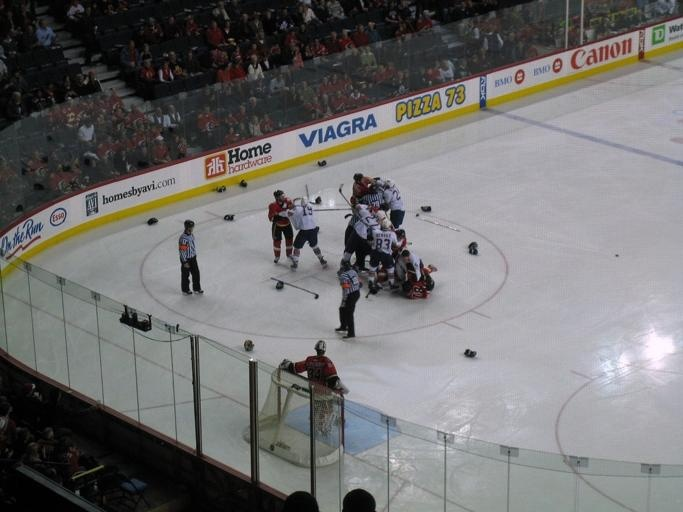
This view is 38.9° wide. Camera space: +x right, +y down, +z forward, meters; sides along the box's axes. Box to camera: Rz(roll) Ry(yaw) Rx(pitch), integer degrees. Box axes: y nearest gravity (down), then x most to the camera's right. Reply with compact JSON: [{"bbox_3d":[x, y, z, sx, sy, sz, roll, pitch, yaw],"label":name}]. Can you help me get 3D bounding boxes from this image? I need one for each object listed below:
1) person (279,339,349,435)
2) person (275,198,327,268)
[{"bbox_3d":[-0.398,1.935,14.173,1.050,1.061,0.291,8,19,22],"label":"person"},{"bbox_3d":[-0.849,-0.455,20.097,0.741,1.578,0.493,-13,24,5],"label":"person"}]
